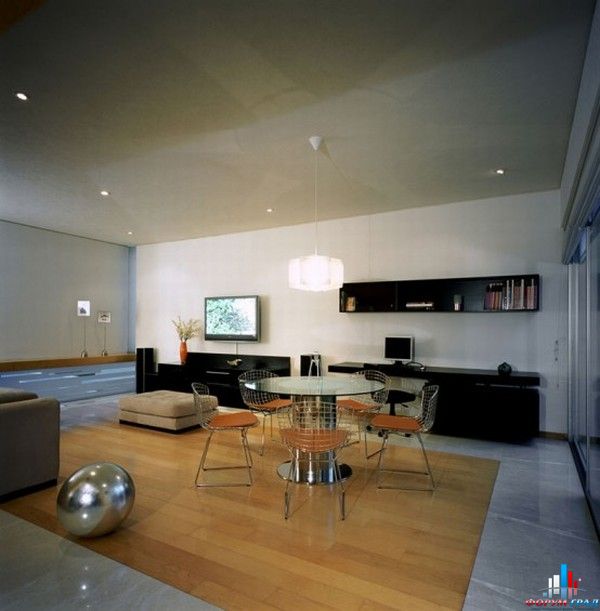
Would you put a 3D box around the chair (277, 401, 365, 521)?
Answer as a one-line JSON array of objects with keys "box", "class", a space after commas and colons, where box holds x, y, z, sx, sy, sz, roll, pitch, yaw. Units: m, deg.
[{"box": [0.283, 1.249, 3.836, 0.606, 1.173, 0.739, 0, 0, 9], "class": "chair"}]

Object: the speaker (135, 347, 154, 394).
[{"box": [-2.870, 1.209, 8.452, 0.295, 0.809, 0.573, 0, -1, -16], "class": "speaker"}]

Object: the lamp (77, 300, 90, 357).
[{"box": [-4.415, 0.458, 9.423, 0.173, 1.141, 0.332, 0, -1, 20], "class": "lamp"}]

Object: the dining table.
[{"box": [0.212, 1.047, 4.282, 0.914, 0.641, 0.947, 2, 4, 37], "class": "dining table"}]

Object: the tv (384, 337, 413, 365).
[{"box": [1.331, 0.599, 6.084, 0.332, 0.364, 0.122, -1, -2, 32], "class": "tv"}]

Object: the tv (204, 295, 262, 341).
[{"box": [-1.189, 0.226, 7.861, 1.217, 0.752, 0.071, 0, -1, 35], "class": "tv"}]
